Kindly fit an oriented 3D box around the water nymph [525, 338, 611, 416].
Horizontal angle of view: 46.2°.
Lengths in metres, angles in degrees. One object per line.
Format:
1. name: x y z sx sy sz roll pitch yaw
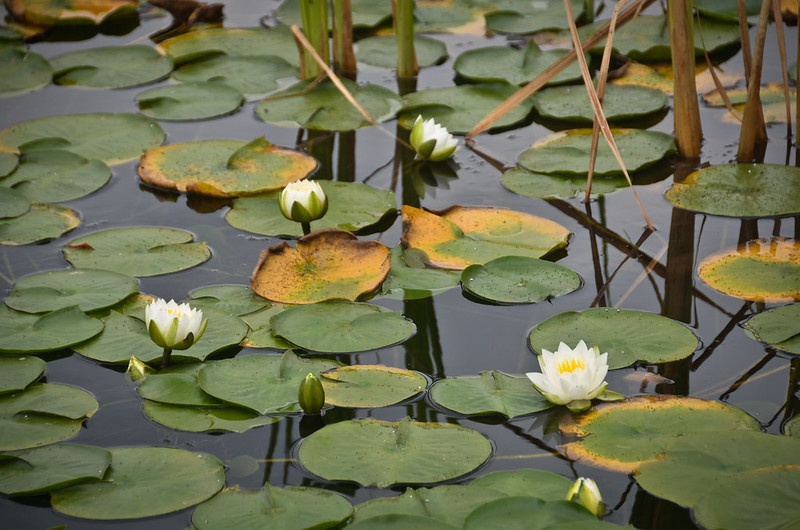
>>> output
1. water nymph: 0.682 0.425 3.637 0.376 0.118 0.262 -16 29 0
